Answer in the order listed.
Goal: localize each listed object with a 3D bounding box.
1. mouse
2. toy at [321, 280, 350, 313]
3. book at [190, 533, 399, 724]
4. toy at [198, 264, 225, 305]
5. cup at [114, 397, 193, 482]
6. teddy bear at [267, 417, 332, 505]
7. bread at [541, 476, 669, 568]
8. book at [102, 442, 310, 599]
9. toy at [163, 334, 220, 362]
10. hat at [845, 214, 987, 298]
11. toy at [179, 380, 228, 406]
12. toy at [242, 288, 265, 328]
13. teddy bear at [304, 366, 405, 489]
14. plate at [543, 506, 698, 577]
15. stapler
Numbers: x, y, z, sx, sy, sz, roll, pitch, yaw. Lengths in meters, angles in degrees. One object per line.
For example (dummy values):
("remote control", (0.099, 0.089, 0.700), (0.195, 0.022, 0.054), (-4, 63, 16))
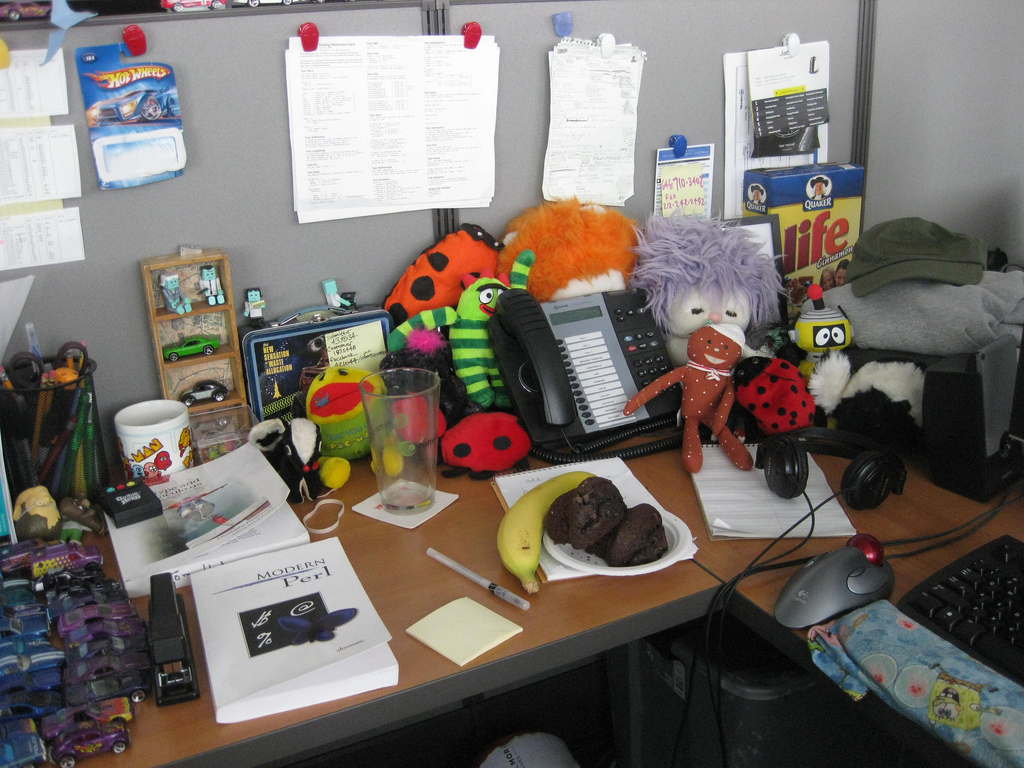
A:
("mouse", (0.421, 0.248, 1.011), (0.181, 0.071, 0.112), (-15, 21, -29))
("toy", (-0.310, -0.152, 1.391), (0.036, 0.066, 0.022), (-25, 8, -19))
("book", (-0.277, 0.302, 0.986), (0.207, 0.097, 0.260), (-14, 17, -23))
("toy", (-0.493, -0.162, 1.293), (0.036, 0.068, 0.022), (-12, 16, -21))
("cup", (-0.563, 0.097, 1.249), (0.103, 0.114, 0.098), (-1, 25, 0))
("teddy bear", (-0.329, 0.120, 1.216), (0.077, 0.137, 0.088), (10, 22, 3))
("bread", (0.132, 0.209, 1.093), (0.177, 0.067, 0.146), (27, 33, 31))
("book", (-0.459, 0.185, 1.149), (0.193, 0.049, 0.193), (-20, 44, -24))
("toy", (-0.531, -0.060, 1.295), (0.071, 0.023, 0.039), (-9, 35, -13))
("hat", (0.706, -0.224, 1.384), (0.211, 0.115, 0.171), (0, 17, 23))
("toy", (-0.514, 0.017, 1.317), (0.063, 0.033, 0.039), (0, 20, -13))
("toy", (-0.439, -0.130, 1.346), (0.039, 0.067, 0.039), (-12, 16, -19))
("teddy bear", (-0.263, 0.062, 1.333), (0.132, 0.191, 0.135), (-8, 21, -32))
("plate", (0.151, 0.225, 1.062), (0.115, 0.022, 0.102), (-9, 33, -16))
("stapler", (-0.396, 0.304, 0.940), (0.086, 0.101, 0.121), (-3, 23, -13))
